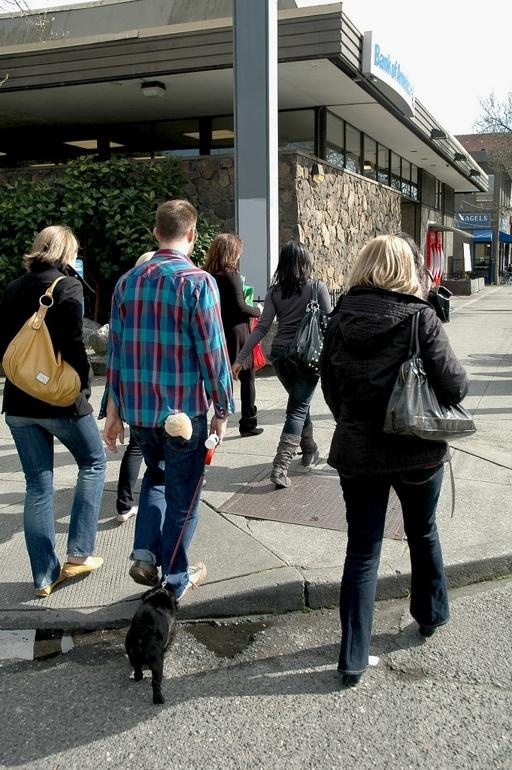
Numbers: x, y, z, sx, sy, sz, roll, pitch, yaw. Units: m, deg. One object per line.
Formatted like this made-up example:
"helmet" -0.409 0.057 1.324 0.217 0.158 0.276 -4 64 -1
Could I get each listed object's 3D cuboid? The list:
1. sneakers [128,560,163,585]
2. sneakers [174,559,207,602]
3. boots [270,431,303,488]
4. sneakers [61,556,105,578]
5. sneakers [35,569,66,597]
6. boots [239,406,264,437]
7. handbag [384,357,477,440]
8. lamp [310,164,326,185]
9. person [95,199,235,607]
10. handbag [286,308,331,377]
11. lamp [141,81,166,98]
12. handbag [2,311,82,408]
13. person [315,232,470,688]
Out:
"sneakers" -0.501 0.838 2.571 0.074 0.092 0.200 2 -22 16
"sneakers" -0.313 0.978 2.892 0.068 0.090 0.213 2 33 26
"boots" 0.243 0.572 4.523 0.206 0.426 0.371 3 8 20
"sneakers" -0.932 0.977 3.123 0.073 0.083 0.202 16 16 30
"sneakers" -1.051 1.028 2.964 0.048 0.057 0.143 5 15 11
"boots" -0.043 0.373 6.229 0.342 0.329 0.184 -19 29 -39
"handbag" 0.636 0.035 2.090 0.338 0.333 0.136 2 -7 -31
"lamp" 1.242 -4.267 11.611 0.158 0.412 0.516 4 8 21
"person" -0.419 0.068 2.586 0.614 1.777 0.350 4 8 24
"handbag" 0.399 -0.345 4.380 0.219 0.513 0.394 21 9 39
"lamp" -2.104 -6.159 11.852 0.327 0.304 0.467 -18 28 -29
"handbag" -1.022 -0.117 2.799 0.343 0.452 0.205 18 0 -7
"person" 0.532 0.284 2.276 0.524 1.732 0.498 0 7 -4
